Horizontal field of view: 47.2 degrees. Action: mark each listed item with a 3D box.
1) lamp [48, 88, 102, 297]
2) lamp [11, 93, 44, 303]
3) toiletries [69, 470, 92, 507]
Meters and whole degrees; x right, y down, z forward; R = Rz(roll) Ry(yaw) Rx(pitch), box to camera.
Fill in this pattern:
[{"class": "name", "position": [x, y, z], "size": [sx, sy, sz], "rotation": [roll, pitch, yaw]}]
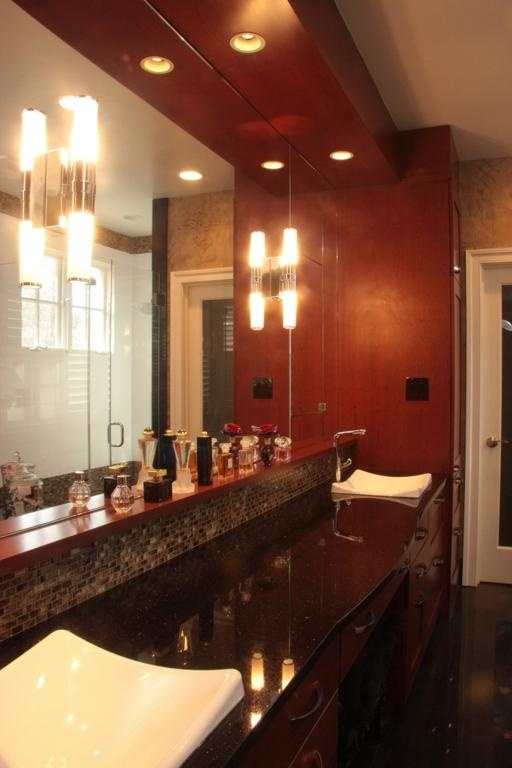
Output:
[{"class": "lamp", "position": [-0.413, -0.456, 1.353], "size": [0.054, 0.385, 0.133], "rotation": [1, -1, 35]}, {"class": "lamp", "position": [-0.469, -0.392, 1.223], "size": [0.046, 0.352, 0.137], "rotation": [1, -1, 6]}, {"class": "toiletries", "position": [-0.416, 0.249, 1.370], "size": [0.049, 0.075, 0.040], "rotation": [2, -1, -28]}]
